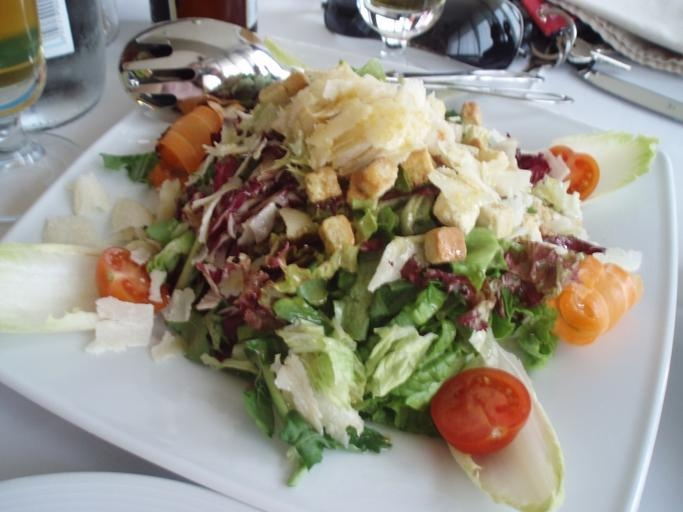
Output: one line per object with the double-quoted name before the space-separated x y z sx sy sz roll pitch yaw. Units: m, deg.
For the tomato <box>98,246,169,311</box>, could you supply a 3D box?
"tomato" -0.463 0.036 1.301 0.152 0.151 0.091 17 23 9
